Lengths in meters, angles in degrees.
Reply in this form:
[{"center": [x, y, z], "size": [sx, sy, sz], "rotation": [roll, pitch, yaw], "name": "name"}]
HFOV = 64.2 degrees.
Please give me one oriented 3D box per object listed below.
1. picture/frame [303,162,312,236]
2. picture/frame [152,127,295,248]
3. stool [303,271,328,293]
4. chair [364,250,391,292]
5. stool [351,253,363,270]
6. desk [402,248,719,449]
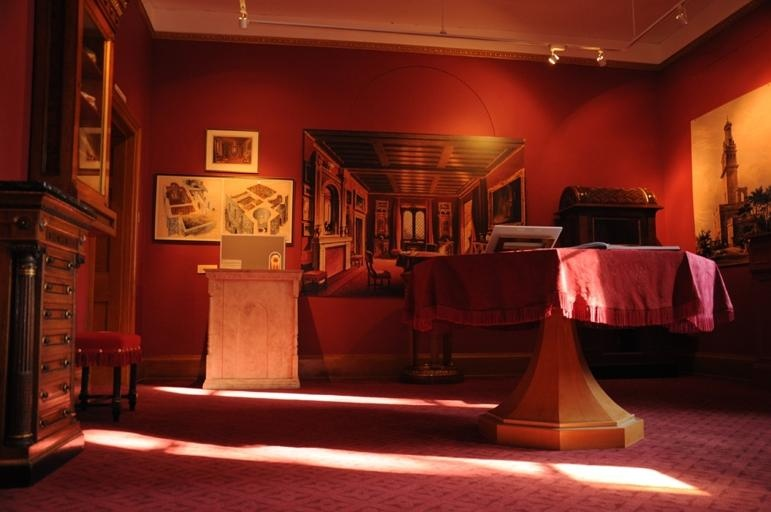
[{"center": [-1.008, -0.745, 8.054], "size": [0.154, 0.990, 0.063], "rotation": [0, -1, -6], "name": "picture/frame"}, {"center": [-2.157, -0.828, 7.886], "size": [1.531, 1.309, 0.058], "rotation": [1, -6, -9], "name": "picture/frame"}, {"center": [-0.908, 0.335, 7.995], "size": [0.280, 0.251, 0.285], "rotation": [1, 4, 10], "name": "stool"}, {"center": [-0.120, 0.215, 8.109], "size": [0.437, 0.614, 0.360], "rotation": [-1, 2, -12], "name": "chair"}, {"center": [-0.384, 0.074, 8.113], "size": [0.166, 0.235, 0.165], "rotation": [-1, 0, 36], "name": "stool"}, {"center": [1.306, 0.656, 4.955], "size": [1.661, 0.920, 1.677], "rotation": [0, -5, -1], "name": "desk"}]
